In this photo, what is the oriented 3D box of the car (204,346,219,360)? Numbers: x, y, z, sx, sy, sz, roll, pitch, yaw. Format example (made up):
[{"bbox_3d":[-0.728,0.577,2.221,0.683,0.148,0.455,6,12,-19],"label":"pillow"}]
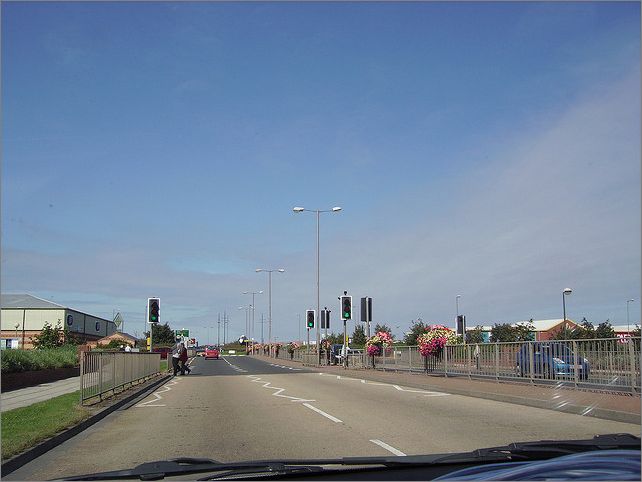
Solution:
[{"bbox_3d":[-15.084,15.543,73.962,1.351,1.398,2.588,2,-5,-7],"label":"car"}]

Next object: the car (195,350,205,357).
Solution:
[{"bbox_3d":[-19.664,18.405,87.229,1.916,1.033,3.118,4,-9,-17],"label":"car"}]

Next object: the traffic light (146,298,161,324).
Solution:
[{"bbox_3d":[-8.312,3.519,26.504,0.486,1.207,0.864,3,-8,-24],"label":"traffic light"}]

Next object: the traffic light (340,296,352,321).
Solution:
[{"bbox_3d":[1.667,4.449,35.327,0.647,1.521,0.623,1,-6,-11],"label":"traffic light"}]
